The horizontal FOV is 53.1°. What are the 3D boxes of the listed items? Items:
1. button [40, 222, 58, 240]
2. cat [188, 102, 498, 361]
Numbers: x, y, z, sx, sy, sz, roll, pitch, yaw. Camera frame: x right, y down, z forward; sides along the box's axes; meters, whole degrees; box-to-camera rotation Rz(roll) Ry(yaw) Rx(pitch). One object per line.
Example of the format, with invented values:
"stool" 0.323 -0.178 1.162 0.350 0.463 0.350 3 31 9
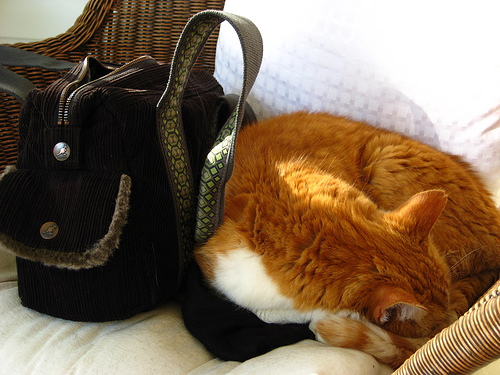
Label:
"button" -0.305 0.066 0.762 0.025 0.024 0.024 -27 89 -8
"cat" 0.163 0.059 0.811 0.474 0.222 0.354 20 37 12
